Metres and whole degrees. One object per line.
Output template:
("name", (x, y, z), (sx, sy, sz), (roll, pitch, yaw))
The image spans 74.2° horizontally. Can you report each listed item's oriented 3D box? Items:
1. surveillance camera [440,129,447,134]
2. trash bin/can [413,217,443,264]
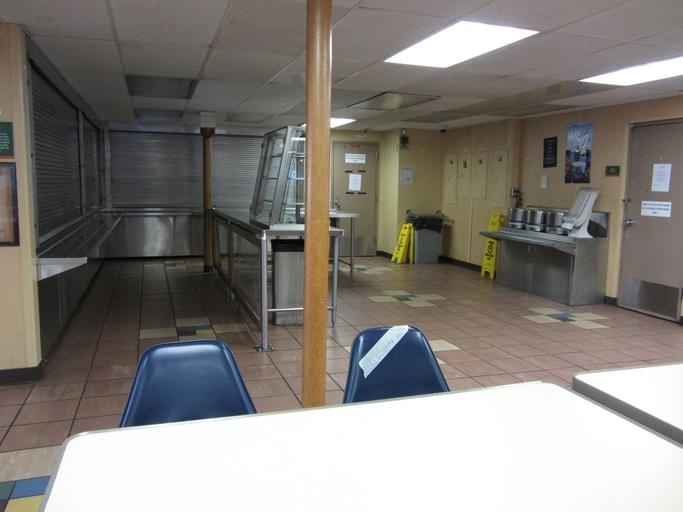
("surveillance camera", (2.318, -2.856, 10.278), (0.105, 0.047, 0.106), (0, 3, 3))
("trash bin/can", (1.916, -0.376, 10.080), (0.899, 1.133, 0.964), (0, 6, -1))
